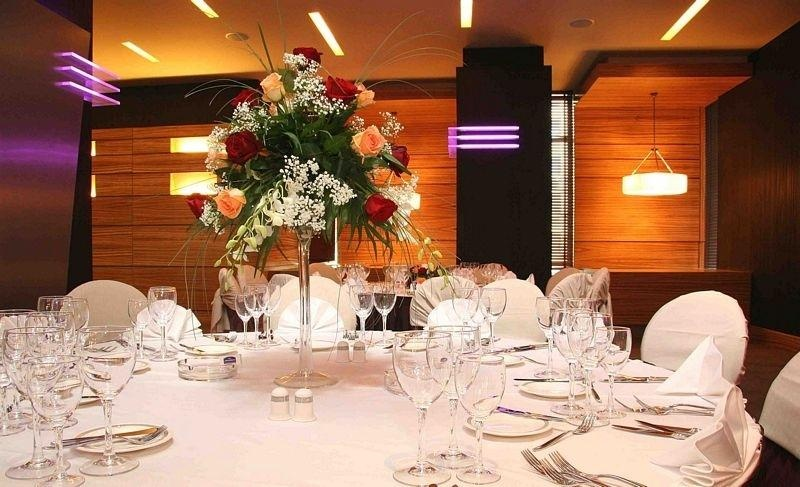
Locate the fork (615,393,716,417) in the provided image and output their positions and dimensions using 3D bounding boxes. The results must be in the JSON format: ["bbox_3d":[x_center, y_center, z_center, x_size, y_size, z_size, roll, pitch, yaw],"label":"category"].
[{"bbox_3d":[1.062,0.642,2.287,0.386,0.038,0.042,-4,26,4],"label":"fork"}]

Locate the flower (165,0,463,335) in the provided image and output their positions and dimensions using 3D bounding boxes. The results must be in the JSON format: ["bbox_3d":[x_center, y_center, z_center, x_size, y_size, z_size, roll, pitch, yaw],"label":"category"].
[{"bbox_3d":[-0.349,-0.231,2.803,1.007,1.157,1.053,-3,3,-40],"label":"flower"}]

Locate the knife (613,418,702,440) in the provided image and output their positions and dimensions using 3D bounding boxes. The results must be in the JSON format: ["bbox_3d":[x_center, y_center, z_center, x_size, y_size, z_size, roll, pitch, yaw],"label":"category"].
[{"bbox_3d":[0.950,0.681,2.120,0.358,0.026,0.089,0,22,10],"label":"knife"}]

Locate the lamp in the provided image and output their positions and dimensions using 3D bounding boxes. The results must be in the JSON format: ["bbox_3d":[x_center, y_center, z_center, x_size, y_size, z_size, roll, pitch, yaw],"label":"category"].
[{"bbox_3d":[3.943,-1.468,8.873,0.845,1.591,1.658,2,-3,22],"label":"lamp"}]
